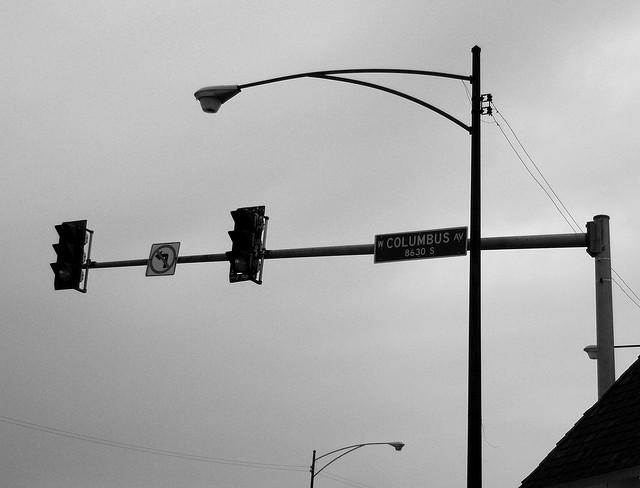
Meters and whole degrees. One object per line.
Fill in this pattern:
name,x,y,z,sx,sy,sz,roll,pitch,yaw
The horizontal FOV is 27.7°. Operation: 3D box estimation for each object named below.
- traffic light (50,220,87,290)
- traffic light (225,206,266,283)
traffic light,-4.866,0.224,24.817,0.644,1.538,0.536,11,-25,-13
traffic light,-1.382,-0.029,23.714,0.731,1.565,0.750,12,-26,-15
